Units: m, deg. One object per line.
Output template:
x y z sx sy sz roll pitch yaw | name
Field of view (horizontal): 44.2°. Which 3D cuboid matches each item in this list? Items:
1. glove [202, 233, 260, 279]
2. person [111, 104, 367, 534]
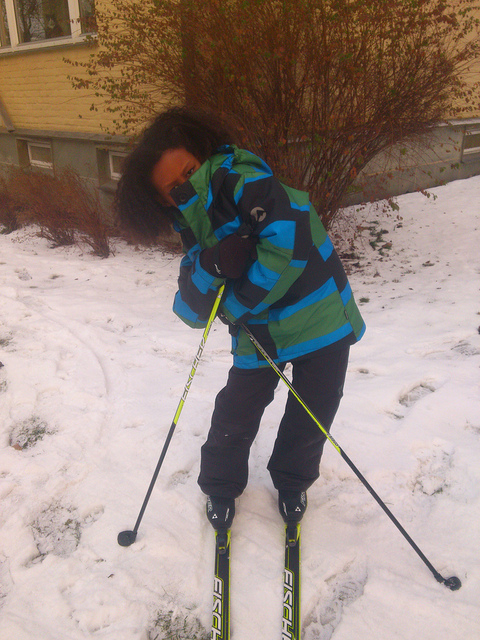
-0.034 -0.263 2.479 0.222 0.153 0.114 -37 4 37 | glove
-0.024 0.057 2.713 0.999 1.942 0.605 11 26 27 | person
